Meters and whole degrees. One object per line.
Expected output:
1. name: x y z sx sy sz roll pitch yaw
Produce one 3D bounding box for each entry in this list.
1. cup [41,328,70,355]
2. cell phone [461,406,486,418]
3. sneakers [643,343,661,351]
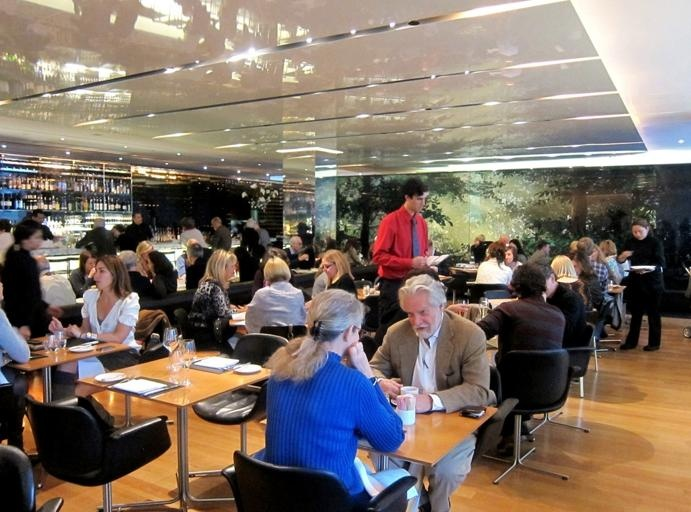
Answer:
1. cup: -2.279 0.675 4.096 0.186 0.198 0.184 -1 -10 0
2. cell phone: 0.737 0.911 2.989 0.136 0.029 0.118 1 6 11
3. sneakers: 4.508 1.359 7.603 0.276 0.112 0.092 10 -8 -29
